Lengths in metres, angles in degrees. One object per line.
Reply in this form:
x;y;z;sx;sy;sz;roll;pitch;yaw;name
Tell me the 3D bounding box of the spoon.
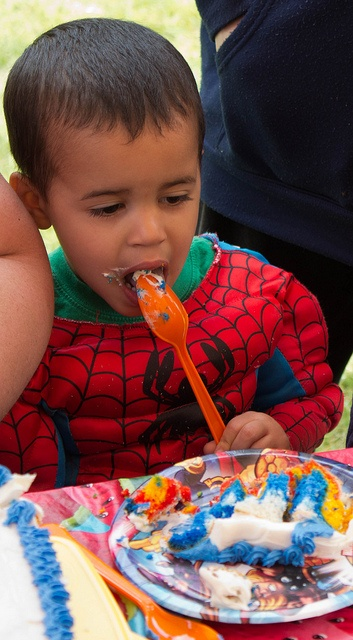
0.008;0.062;0.785;0.090;0.268;0.165;-14;30;-18;spoon
